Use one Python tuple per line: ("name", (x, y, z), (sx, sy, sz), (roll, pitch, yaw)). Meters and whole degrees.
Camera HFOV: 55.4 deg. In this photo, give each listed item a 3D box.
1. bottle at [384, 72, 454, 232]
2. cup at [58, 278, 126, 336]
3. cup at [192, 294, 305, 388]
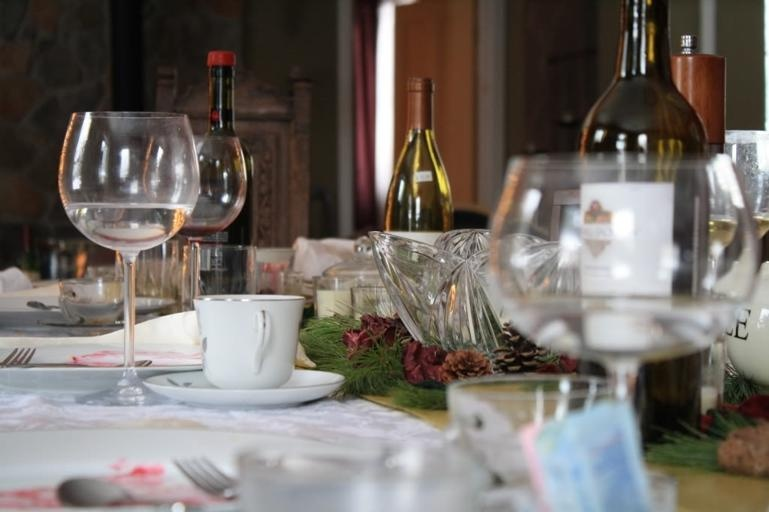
("bottle", (0.055, -0.149, 1.111), (0.102, 0.223, 0.169), (1, 4, 0))
("cup", (-0.340, 0.055, 0.850), (0.077, 0.050, 0.068), (0, 1, -25))
("cup", (-0.110, 0.075, 0.606), (0.092, 0.075, 0.109), (1, -1, -19))
